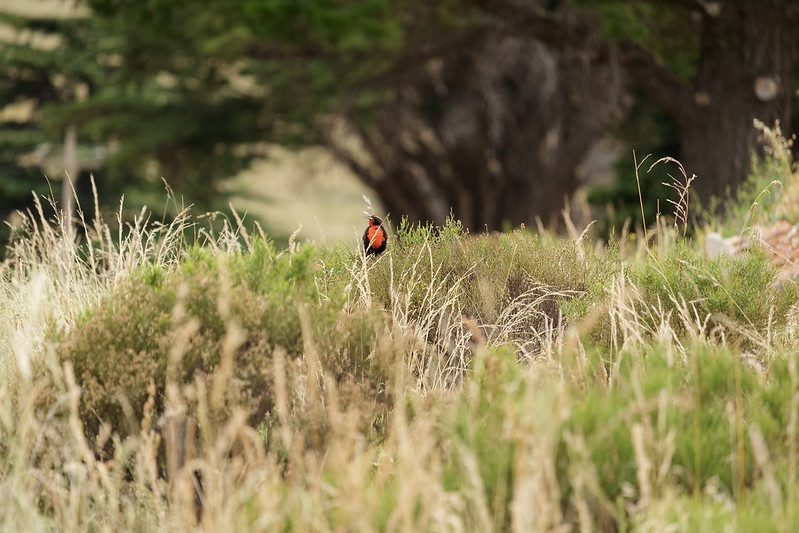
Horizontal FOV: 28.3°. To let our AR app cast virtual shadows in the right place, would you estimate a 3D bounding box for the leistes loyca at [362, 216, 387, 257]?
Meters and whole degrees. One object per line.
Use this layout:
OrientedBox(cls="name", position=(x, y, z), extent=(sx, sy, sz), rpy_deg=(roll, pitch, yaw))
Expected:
OrientedBox(cls="leistes loyca", position=(-0.325, -0.410, 21.271), extent=(0.244, 0.521, 0.529), rpy_deg=(-2, -26, 4))
